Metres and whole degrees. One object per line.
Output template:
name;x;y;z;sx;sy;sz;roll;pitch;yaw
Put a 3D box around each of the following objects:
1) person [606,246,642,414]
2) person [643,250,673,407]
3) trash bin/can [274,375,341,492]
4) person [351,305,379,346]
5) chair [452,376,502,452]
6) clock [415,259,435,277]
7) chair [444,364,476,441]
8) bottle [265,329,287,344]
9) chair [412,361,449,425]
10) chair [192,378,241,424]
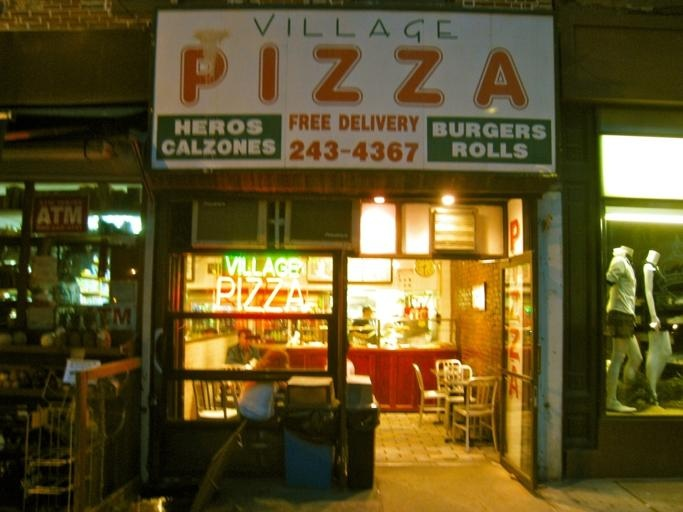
person;3.961;1.034;12.232;0.553;2.310;0.168;1;-2;-20
person;4.468;1.014;12.331;0.384;2.137;0.130;1;-2;-19
trash bin/can;-0.554;2.366;11.813;1.023;2.080;1.096;0;-1;2
person;0.386;1.403;16.001;0.461;0.826;0.517;0;-14;9
chair;2.138;2.343;13.712;0.569;1.229;0.733;2;14;9
clock;1.649;0.257;17.253;0.387;0.296;0.291;0;-2;-8
chair;1.862;2.188;14.059;0.527;1.041;0.624;-4;-10;13
bottle;-0.902;1.139;12.097;0.307;0.187;0.062;0;-2;-3
chair;1.484;2.347;14.713;0.558;0.961;0.577;-1;-1;13
chair;-1.725;2.032;12.178;0.512;0.869;0.517;-1;-3;6
